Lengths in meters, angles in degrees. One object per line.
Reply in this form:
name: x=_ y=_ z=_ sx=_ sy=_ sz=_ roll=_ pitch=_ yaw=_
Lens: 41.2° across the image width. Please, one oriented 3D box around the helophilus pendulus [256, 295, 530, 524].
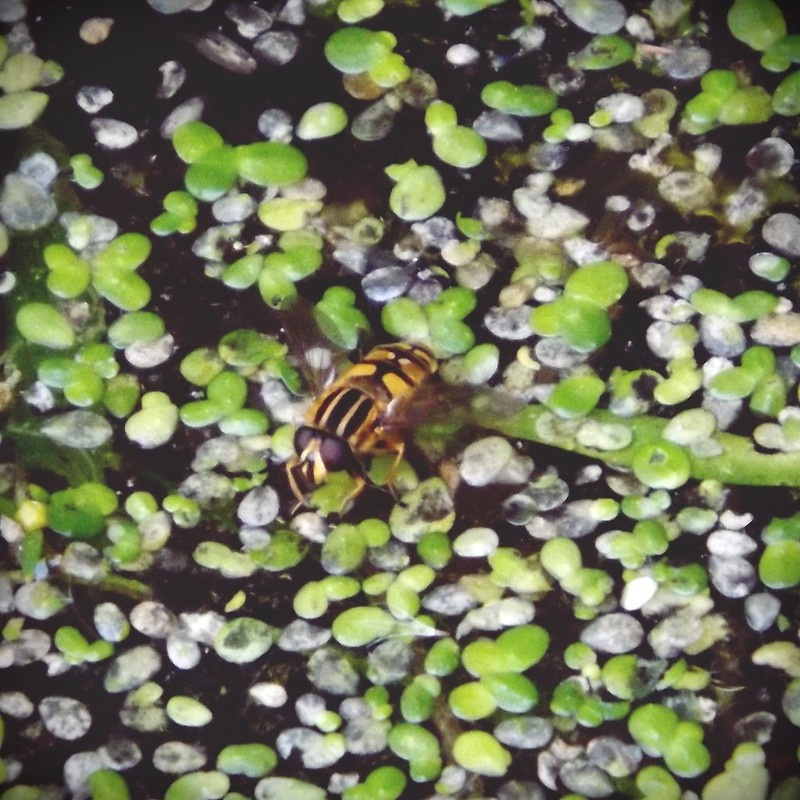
helophilus pendulus: x=-0.013 y=-0.010 z=1.162 sx=0.280 sy=0.081 sz=0.204 roll=36 pitch=95 yaw=4
